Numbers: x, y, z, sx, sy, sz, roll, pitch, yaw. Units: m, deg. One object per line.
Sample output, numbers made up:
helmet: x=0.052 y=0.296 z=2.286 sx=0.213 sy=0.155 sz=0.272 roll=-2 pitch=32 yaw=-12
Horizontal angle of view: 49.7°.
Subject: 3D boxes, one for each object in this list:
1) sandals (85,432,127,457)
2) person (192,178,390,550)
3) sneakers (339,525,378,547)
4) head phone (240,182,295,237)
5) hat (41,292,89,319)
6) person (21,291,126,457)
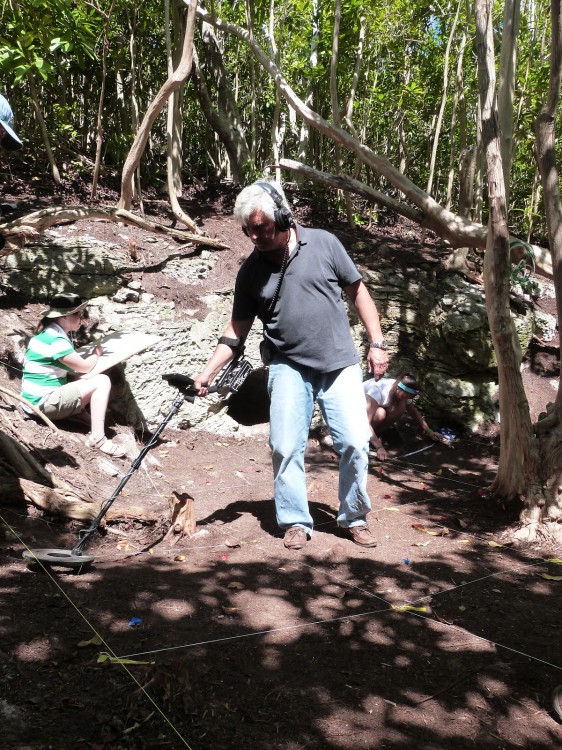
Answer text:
sandals: x=-1.296 y=0.541 z=4.576 sx=0.304 sy=0.123 sz=0.116 roll=22 pitch=10 yaw=-26
person: x=0.089 y=-0.014 z=3.297 sx=1.040 sy=1.401 sz=0.537 roll=8 pitch=4 yaw=9
sneakers: x=0.447 y=0.924 z=3.588 sx=0.092 sy=0.086 sz=0.231 roll=-23 pitch=26 yaw=-38
head phone: x=-0.074 y=-0.878 z=3.129 sx=0.317 sy=0.277 sz=0.231 roll=6 pitch=3 yaw=-6
hat: x=-1.567 y=-0.498 z=4.438 sx=0.267 sy=0.102 sz=0.288 roll=-7 pitch=12 yaw=42
person: x=-1.512 y=0.002 z=4.424 sx=0.717 sy=1.167 sz=0.517 roll=4 pitch=5 yaw=-38
